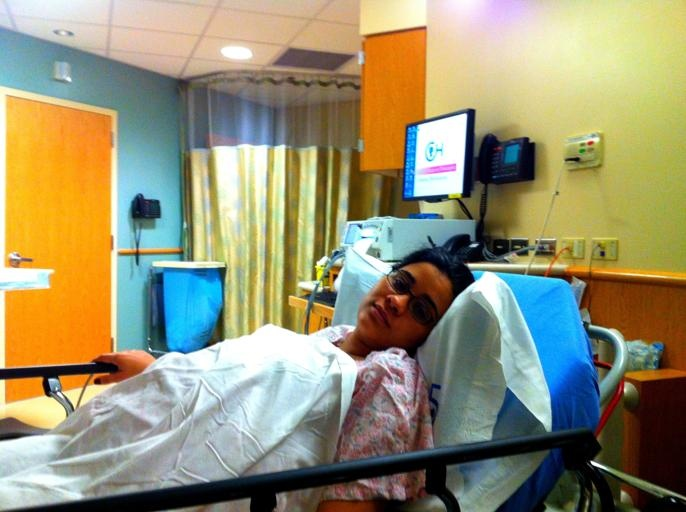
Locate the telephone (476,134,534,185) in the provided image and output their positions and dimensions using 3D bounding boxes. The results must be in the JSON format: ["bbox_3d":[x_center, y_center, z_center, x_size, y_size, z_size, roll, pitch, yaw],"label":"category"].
[{"bbox_3d":[0.861,-0.527,2.758,0.269,0.254,0.146,5,6,41],"label":"telephone"}]

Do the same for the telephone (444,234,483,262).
[{"bbox_3d":[0.642,-0.032,2.750,0.174,0.096,0.242,17,29,36],"label":"telephone"}]

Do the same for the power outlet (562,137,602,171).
[{"bbox_3d":[1.130,-0.492,2.461,0.174,0.161,0.090,-1,7,45],"label":"power outlet"}]

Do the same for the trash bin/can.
[{"bbox_3d":[-1.444,0.506,4.667,0.658,0.806,0.745,-8,-3,19],"label":"trash bin/can"}]

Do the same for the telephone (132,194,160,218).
[{"bbox_3d":[-1.691,-0.420,4.493,0.091,0.219,0.292,2,6,25],"label":"telephone"}]

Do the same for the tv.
[{"bbox_3d":[0.527,-0.537,2.894,0.060,0.477,0.550,0,4,-28],"label":"tv"}]
